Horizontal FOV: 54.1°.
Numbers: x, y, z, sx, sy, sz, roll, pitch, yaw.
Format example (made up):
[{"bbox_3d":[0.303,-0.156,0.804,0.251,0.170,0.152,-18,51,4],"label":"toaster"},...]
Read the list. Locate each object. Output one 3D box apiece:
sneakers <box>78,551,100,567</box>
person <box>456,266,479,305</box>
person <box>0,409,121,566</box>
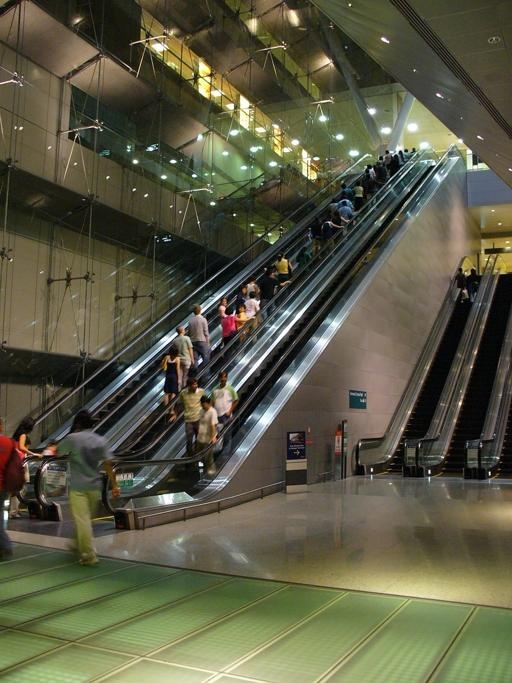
[{"bbox_3d":[-1.157,1.498,3.466,0.128,0.090,0.111,2,-13,-8],"label":"sneakers"},{"bbox_3d":[7.545,-1.987,17.830,0.814,1.338,0.767,-5,-14,23],"label":"person"},{"bbox_3d":[-1.207,1.044,3.650,0.372,1.052,0.313,-3,-14,14],"label":"person"}]
